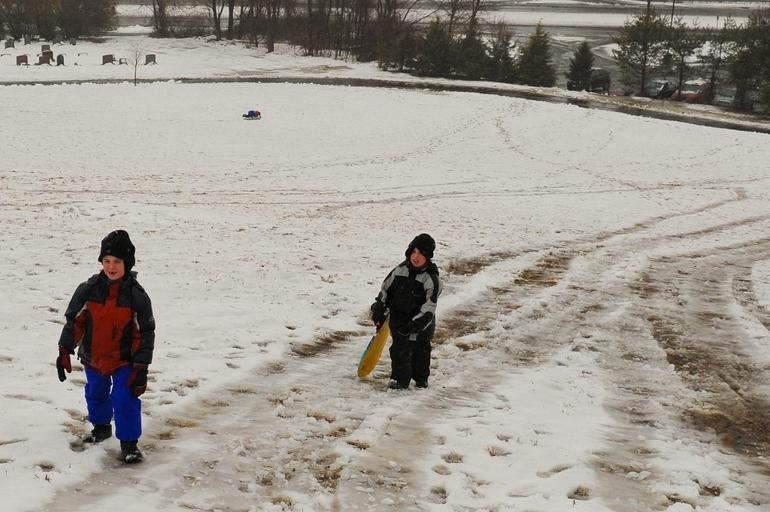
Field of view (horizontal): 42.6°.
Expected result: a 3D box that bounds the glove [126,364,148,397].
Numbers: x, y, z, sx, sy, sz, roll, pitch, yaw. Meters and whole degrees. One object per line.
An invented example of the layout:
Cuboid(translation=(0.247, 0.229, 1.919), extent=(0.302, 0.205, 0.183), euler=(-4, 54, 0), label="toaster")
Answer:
Cuboid(translation=(-5.498, 2.817, 22.435), extent=(0.585, 0.607, 0.273), euler=(1, -11, 36), label="glove")

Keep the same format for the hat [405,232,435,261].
Cuboid(translation=(0.845, -0.237, 24.268), extent=(0.659, 0.679, 0.415), euler=(2, 18, -4), label="hat")

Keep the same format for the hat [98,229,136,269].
Cuboid(translation=(-6.102, -0.218, 22.660), extent=(0.986, 0.774, 0.957), euler=(5, -3, -11), label="hat")
